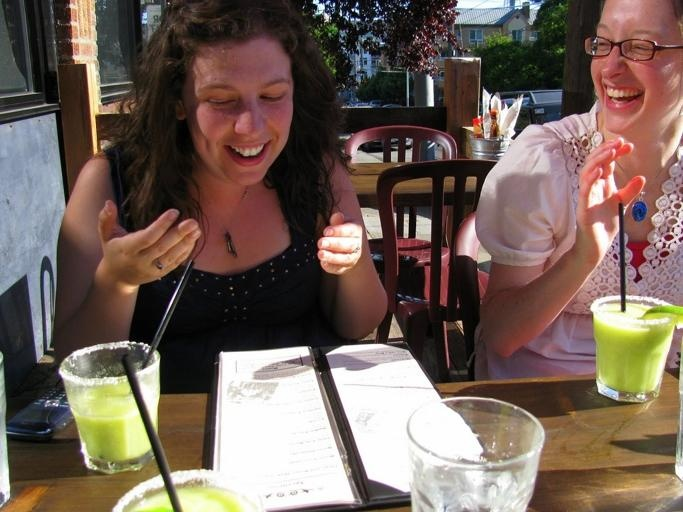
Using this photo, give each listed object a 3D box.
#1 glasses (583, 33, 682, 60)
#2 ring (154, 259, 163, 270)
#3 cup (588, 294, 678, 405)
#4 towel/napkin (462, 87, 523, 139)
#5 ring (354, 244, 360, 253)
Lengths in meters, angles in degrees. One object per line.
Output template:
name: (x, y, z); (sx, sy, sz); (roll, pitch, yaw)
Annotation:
glasses: (0.889, -0.621, 1.713); (0.234, 0.075, 0.082); (11, 24, 33)
ring: (-0.465, 0.021, 1.450); (0.018, 0.020, 0.022); (5, -6, -9)
cup: (0.671, 0.216, 1.411); (0.216, 0.244, 0.217); (0, 2, 0)
towel/napkin: (1.194, -1.035, 4.442); (0.365, 0.418, 0.402); (2, 5, 29)
ring: (0.048, -0.022, 1.734); (0.014, 0.017, 0.018); (-3, 17, 8)
